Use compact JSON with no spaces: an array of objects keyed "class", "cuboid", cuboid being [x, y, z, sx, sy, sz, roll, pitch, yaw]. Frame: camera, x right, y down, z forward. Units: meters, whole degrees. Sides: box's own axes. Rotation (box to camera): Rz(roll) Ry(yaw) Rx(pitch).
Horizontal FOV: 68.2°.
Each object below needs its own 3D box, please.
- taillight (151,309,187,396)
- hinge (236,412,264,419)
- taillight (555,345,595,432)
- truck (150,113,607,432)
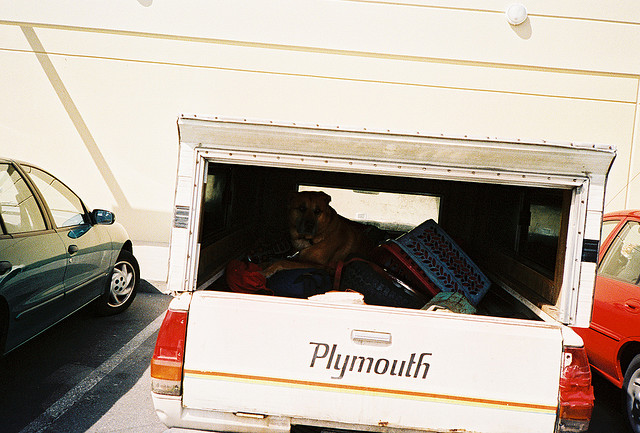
[{"class":"taillight","cuboid":[-1.245,1.109,3.877,0.265,0.680,0.091,5,4,4]},{"class":"hinge","cuboid":[-0.564,1.620,3.852,0.234,0.056,0.042,5,25,2]},{"class":"taillight","cuboid":[2.085,1.400,3.832,0.308,0.582,0.074,4,4,-9]},{"class":"truck","cuboid":[0.529,0.444,5.250,3.609,2.689,3.030,6,5,1]}]
